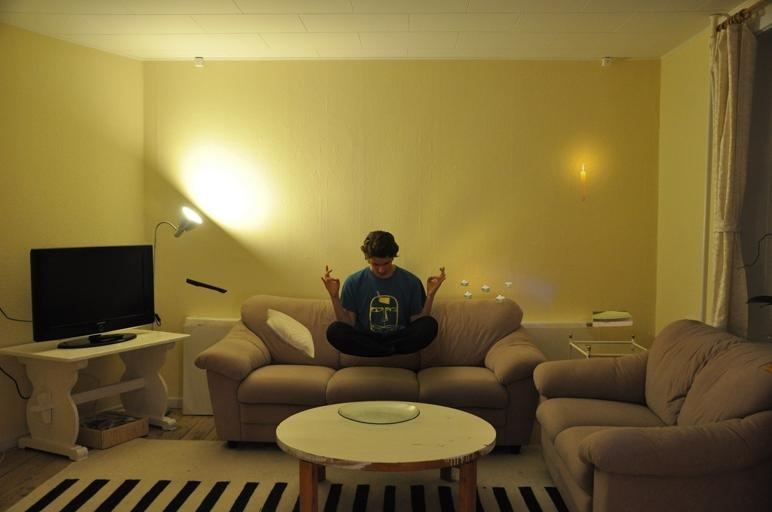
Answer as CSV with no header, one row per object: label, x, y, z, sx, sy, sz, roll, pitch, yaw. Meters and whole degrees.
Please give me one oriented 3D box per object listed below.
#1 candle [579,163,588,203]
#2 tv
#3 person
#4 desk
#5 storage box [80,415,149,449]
candle,1.824,-0.679,5.593,0.079,0.328,0.084,2,15,9
tv,-2.481,0.278,5.095,0.110,0.726,1.024,0,3,35
person,-0.039,0.343,5.222,1.082,0.995,0.622,-1,10,-5
desk,-2.475,0.793,5.131,0.937,0.937,1.536,1,1,25
storage box,-2.261,1.492,5.123,0.521,0.136,0.501,-13,-3,31
